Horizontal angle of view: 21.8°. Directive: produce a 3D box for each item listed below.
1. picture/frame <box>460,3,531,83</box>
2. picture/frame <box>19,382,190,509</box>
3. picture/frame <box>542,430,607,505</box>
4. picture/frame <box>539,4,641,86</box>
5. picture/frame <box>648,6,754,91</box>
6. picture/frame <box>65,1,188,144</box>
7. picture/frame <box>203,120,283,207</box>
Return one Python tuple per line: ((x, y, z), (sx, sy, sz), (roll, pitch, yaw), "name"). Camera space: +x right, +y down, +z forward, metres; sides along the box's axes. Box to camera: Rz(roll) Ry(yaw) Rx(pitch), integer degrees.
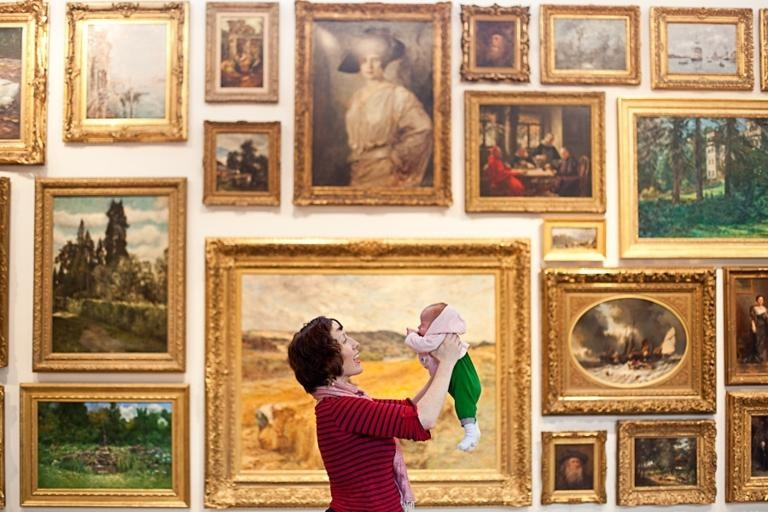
((1.278, -2.421, 22.937), (0.886, 0.930, 0.105), (1, -1, -2), "picture/frame")
((-3.164, 2.175, 22.797), (1.419, 1.049, 0.063), (0, -5, -1), "picture/frame")
((2.175, 2.428, 22.824), (0.833, 0.913, 0.084), (0, -1, -1), "picture/frame")
((2.348, -2.418, 22.951), (0.932, 0.753, 0.112), (0, -1, -1), "picture/frame")
((3.636, -2.373, 22.995), (0.970, 0.822, 0.088), (0, -1, -1), "picture/frame")
((-2.943, -2.046, 22.871), (1.612, 1.807, 0.187), (0, -2, -2), "picture/frame")
((-1.622, -1.038, 22.849), (0.977, 1.053, 0.121), (1, -2, 2), "picture/frame")
